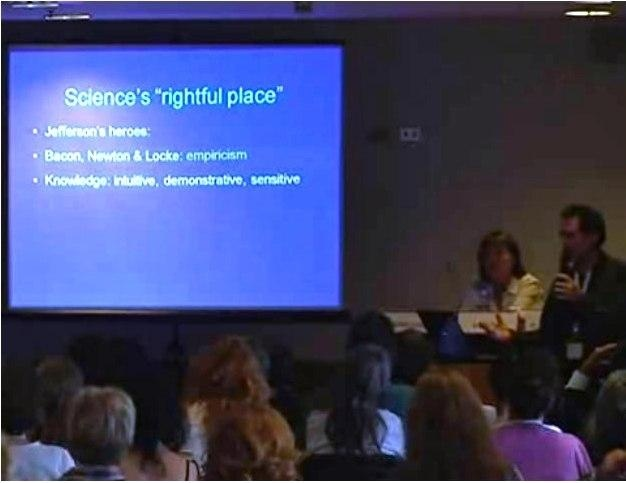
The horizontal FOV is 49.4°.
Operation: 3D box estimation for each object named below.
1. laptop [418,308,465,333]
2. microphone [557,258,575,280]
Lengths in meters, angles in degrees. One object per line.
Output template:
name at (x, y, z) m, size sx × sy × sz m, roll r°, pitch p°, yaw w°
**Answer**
laptop at (0.613, 0.396, 3.337) m, size 0.197 × 0.112 × 0.017 m, roll -1°, pitch 6°, yaw -3°
microphone at (1.261, 0.137, 3.364) m, size 0.081 × 0.094 × 0.015 m, roll -1°, pitch 6°, yaw -5°
